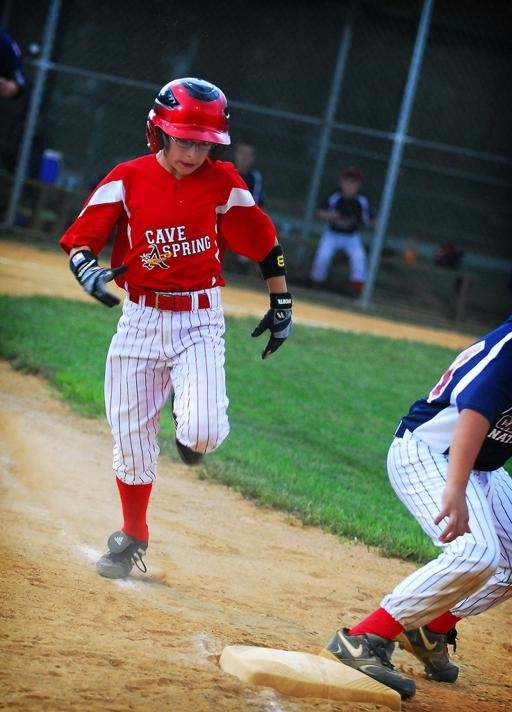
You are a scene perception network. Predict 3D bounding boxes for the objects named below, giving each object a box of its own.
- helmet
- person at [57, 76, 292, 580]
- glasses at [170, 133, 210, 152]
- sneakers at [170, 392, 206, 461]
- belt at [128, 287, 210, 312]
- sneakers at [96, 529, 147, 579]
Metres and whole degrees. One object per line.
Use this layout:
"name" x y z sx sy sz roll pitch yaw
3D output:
"helmet" -0.176 -0.725 2.397 0.222 0.183 0.262 8 28 -23
"person" -0.253 -0.076 2.490 0.780 1.437 0.439 15 5 -31
"glasses" -0.196 -0.611 2.300 0.123 0.043 0.052 12 4 -10
"sneakers" -0.211 0.238 2.466 0.095 0.242 0.108 -3 11 -14
"belt" -0.260 -0.175 2.401 0.243 0.067 0.074 12 3 -4
"sneakers" -0.427 0.641 2.610 0.085 0.101 0.222 35 8 10
